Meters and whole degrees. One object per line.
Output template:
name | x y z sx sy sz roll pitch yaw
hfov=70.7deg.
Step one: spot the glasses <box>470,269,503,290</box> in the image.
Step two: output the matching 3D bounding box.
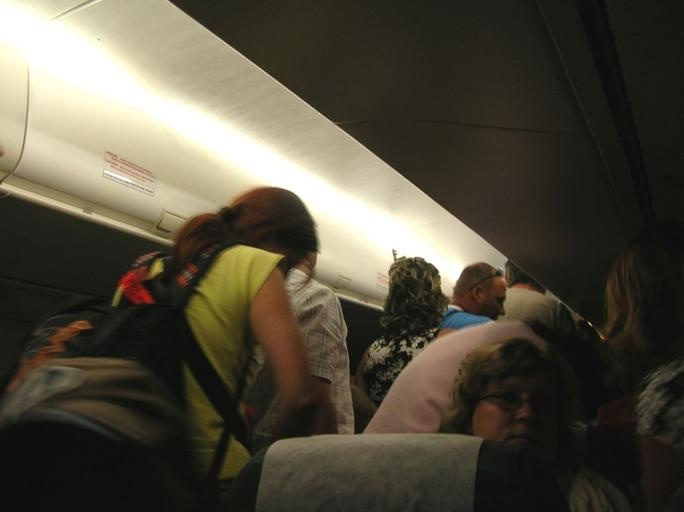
glasses | 0.576 0.091 1.939 0.074 0.051 0.103 -9 -13 16
